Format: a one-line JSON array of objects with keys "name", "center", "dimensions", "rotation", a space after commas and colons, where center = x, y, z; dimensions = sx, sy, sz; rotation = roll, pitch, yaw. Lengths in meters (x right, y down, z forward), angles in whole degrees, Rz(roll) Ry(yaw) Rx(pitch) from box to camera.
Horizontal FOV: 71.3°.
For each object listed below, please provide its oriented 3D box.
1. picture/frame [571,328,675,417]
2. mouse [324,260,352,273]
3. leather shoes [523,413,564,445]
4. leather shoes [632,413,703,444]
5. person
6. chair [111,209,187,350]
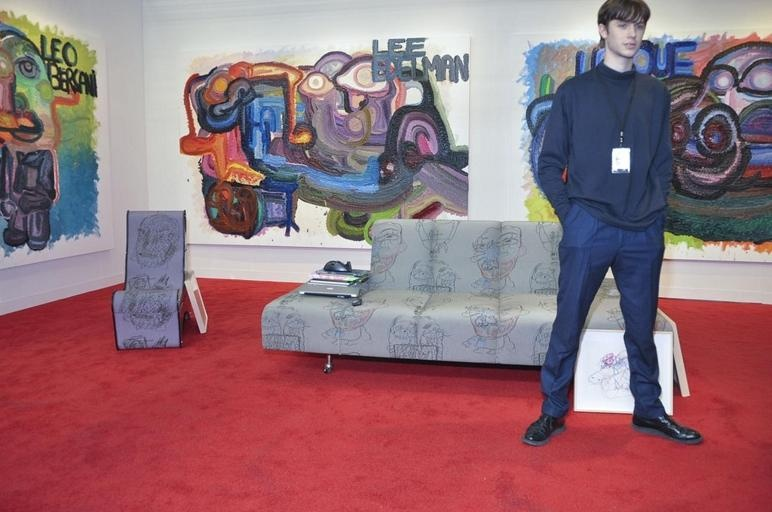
[{"name": "picture/frame", "center": [1.509, 0.732, 3.390], "dimensions": [0.579, 0.534, 0.207], "rotation": [0, 2, 11]}, {"name": "mouse", "center": [-0.379, 0.088, 4.291], "dimensions": [0.154, 0.057, 0.113], "rotation": [2, 1, 14]}, {"name": "leather shoes", "center": [0.977, 1.048, 3.305], "dimensions": [0.113, 0.147, 0.314], "rotation": [1, 1, 43]}, {"name": "leather shoes", "center": [1.684, 1.026, 3.248], "dimensions": [0.401, 0.152, 0.137], "rotation": [0, 5, 31]}, {"name": "person", "center": [1.292, -0.174, 3.169], "dimensions": [0.896, 2.571, 0.433], "rotation": [0, 10, 0]}, {"name": "chair", "center": [-2.042, 0.187, 4.689], "dimensions": [0.580, 1.098, 0.725], "rotation": [-3, 11, -18]}]
